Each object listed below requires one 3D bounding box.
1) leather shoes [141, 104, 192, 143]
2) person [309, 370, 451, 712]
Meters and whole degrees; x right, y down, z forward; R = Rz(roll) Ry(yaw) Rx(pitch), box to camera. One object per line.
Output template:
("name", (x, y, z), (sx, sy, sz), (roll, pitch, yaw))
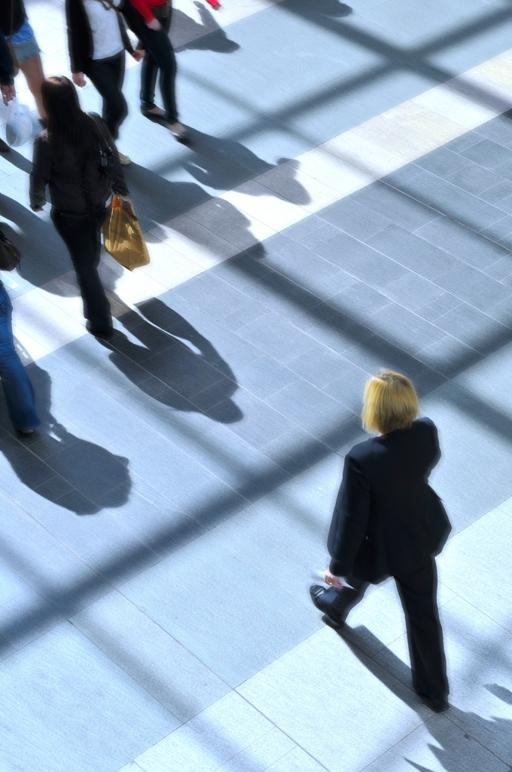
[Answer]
("leather shoes", (-0.734, -2.107, 6.239), (0.468, 0.145, 0.180), (36, 12, 3))
("person", (0.438, 0.548, 2.694), (0.531, 1.332, 0.396), (9, 31, 27))
